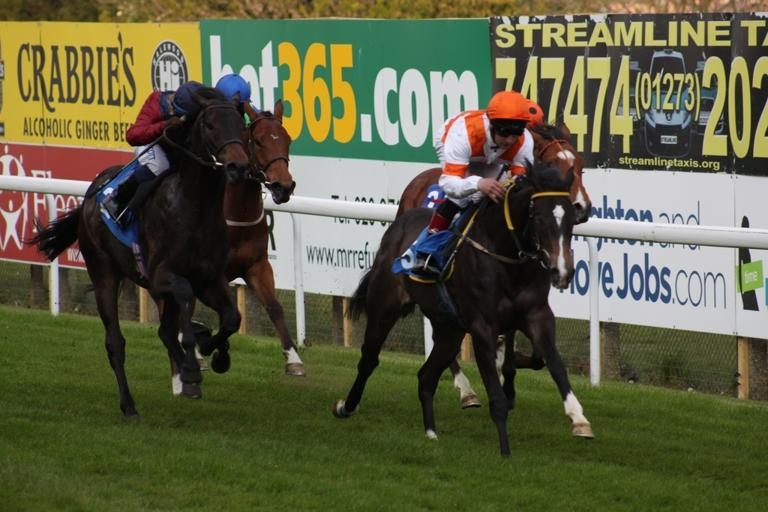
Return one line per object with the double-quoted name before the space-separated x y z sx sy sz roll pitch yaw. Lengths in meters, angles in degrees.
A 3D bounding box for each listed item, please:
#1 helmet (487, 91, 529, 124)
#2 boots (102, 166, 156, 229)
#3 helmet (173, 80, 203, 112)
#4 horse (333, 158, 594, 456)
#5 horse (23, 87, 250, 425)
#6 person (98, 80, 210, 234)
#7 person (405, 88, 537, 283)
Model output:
"helmet" 0.738 -0.877 8.078 0.250 0.167 0.161 3 15 14
"boots" -1.628 -0.373 8.831 0.115 0.402 0.281 13 38 -56
"helmet" -1.237 -1.030 8.714 0.146 0.174 0.210 25 42 -17
"horse" 0.423 0.403 8.653 0.583 1.754 2.360 2 -3 -33
"horse" -1.467 -0.053 8.887 1.543 2.068 0.729 13 18 43
"person" -1.395 -0.672 8.906 0.434 0.934 0.386 12 14 5
"person" 0.550 -0.473 8.588 0.504 1.171 1.456 3 12 -17
